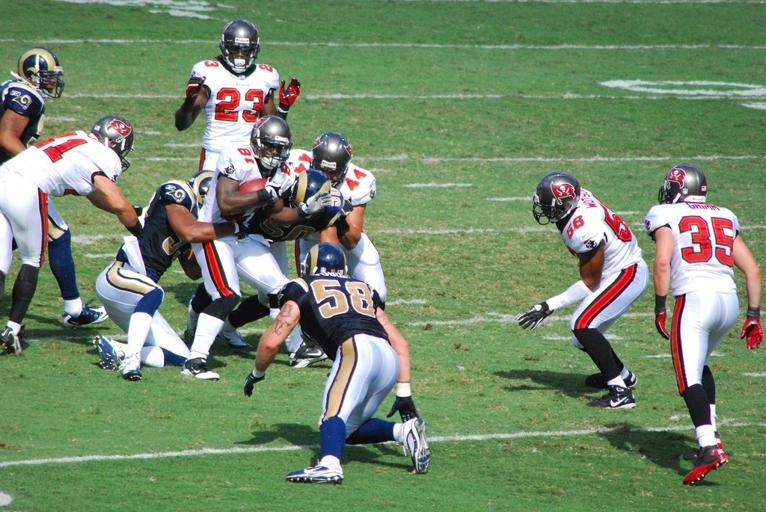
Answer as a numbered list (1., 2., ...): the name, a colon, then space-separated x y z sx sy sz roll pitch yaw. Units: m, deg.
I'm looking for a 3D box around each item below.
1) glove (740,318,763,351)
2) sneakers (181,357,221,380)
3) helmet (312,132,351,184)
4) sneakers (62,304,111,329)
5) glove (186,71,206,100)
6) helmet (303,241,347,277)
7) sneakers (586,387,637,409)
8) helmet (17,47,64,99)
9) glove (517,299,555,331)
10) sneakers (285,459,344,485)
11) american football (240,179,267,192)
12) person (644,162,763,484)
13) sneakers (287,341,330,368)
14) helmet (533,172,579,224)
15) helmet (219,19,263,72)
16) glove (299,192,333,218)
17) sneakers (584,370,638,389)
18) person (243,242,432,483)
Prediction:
1. glove: 3.119 0.662 9.667 0.254 0.282 0.092 2 -7 4
2. sneakers: -1.586 1.019 10.253 0.416 0.153 0.152 4 1 19
3. helmet: -0.470 -0.892 10.297 0.365 0.358 0.424 5 41 -10
4. sneakers: -2.932 0.566 11.206 0.537 0.210 0.184 -11 43 -14
5. glove: -1.851 -1.715 11.492 0.200 0.265 0.105 38 5 39
6. helmet: -0.463 0.025 9.217 0.260 0.229 0.319 0 15 -13
7. sneakers: 1.995 1.269 10.169 0.511 0.191 0.166 0 2 0
8. helmet: -3.325 -1.812 11.079 0.548 0.394 0.388 6 13 -11
9. glove: 1.368 0.531 10.257 0.372 0.181 0.108 -32 3 -2
10. sneakers: -0.493 1.693 8.846 0.498 0.155 0.198 4 44 3
11. american football: -1.152 -0.631 10.140 0.167 0.129 0.144 1 3 -13
12. person: 2.637 0.518 9.519 1.048 2.453 1.532 7 12 7
13. sneakers: -0.742 0.910 10.796 0.491 0.202 0.172 -11 27 -7
14. helmet: 1.585 -0.554 10.329 0.512 0.387 0.364 -12 19 -6
15. helmet: -1.504 -2.191 11.636 0.482 0.491 0.525 0 38 -14
16. glove: -0.584 -0.458 9.958 0.260 0.241 0.143 5 12 -1
17. sneakers: 2.122 1.139 10.526 0.522 0.190 0.160 2 46 4
18. person: -0.293 0.857 9.043 1.499 1.782 0.884 6 12 2
